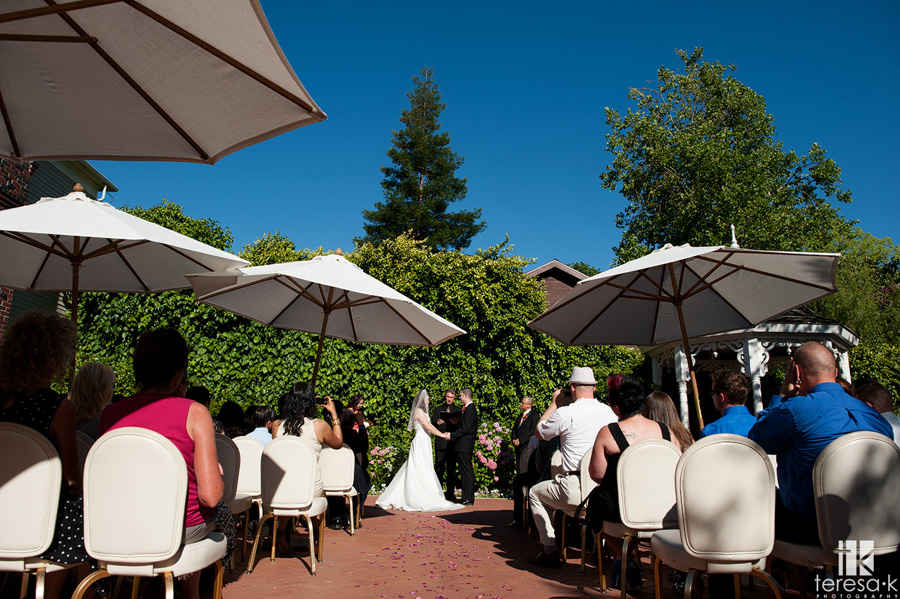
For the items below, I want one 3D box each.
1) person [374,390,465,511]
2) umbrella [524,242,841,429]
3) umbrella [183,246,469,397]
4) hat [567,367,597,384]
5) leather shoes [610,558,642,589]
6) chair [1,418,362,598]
[{"bbox_3d":[-0.596,2.822,12.297,1.356,2.175,0.792,1,-8,-1],"label":"person"},{"bbox_3d":[2.718,-0.033,7.874,2.501,1.907,2.645,0,-15,-12],"label":"umbrella"},{"bbox_3d":[-2.068,0.547,10.098,2.377,1.806,2.556,28,20,35],"label":"umbrella"},{"bbox_3d":[1.577,0.868,7.658,0.257,0.192,0.364,4,-25,2],"label":"hat"},{"bbox_3d":[1.813,2.830,6.705,0.253,0.285,0.450,0,-24,2],"label":"leather shoes"},{"bbox_3d":[-2.470,1.650,5.428,1.182,1.753,1.361,1,-6,4],"label":"chair"}]
